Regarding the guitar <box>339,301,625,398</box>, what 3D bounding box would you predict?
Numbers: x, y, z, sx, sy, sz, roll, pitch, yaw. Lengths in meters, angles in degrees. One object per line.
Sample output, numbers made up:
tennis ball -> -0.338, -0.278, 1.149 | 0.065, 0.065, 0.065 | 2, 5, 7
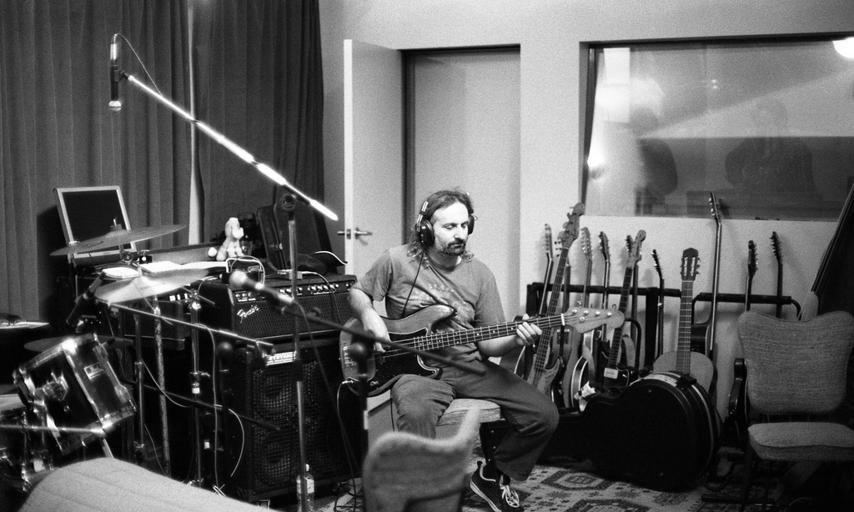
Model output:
guitar -> 0.230, 0.529, 4.785 | 1.531, 0.581, 0.928 | 1, 8, 1

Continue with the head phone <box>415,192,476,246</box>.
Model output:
head phone -> 0.159, -0.200, 4.551 | 0.391, 0.336, 0.156 | -4, -25, 20

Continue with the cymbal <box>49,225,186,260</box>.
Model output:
cymbal -> -1.870, -0.085, 4.457 | 0.568, 0.216, 0.827 | -6, 10, -39

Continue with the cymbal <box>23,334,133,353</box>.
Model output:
cymbal -> -1.974, 0.488, 4.187 | 0.257, 0.059, 0.263 | 1, 1, -6

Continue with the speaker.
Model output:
speaker -> -1.071, 0.885, 4.816 | 0.757, 1.303, 0.959 | -5, -3, 39

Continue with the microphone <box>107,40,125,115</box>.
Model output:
microphone -> -1.677, -0.958, 3.958 | 0.087, 0.398, 0.081 | 6, 18, -6

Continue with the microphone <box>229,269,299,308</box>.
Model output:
microphone -> -0.885, 0.182, 3.953 | 0.332, 0.086, 0.086 | 25, 10, -8

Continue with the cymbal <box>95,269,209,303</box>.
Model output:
cymbal -> -1.461, 0.161, 3.949 | 0.560, 0.167, 0.140 | -3, 9, -22

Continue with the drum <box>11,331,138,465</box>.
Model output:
drum -> -1.911, 0.709, 4.115 | 0.518, 0.482, 0.427 | -27, -6, 18

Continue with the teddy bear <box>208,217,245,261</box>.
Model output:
teddy bear -> -1.378, -0.117, 5.074 | 0.227, 0.276, 0.386 | -2, 8, -14
